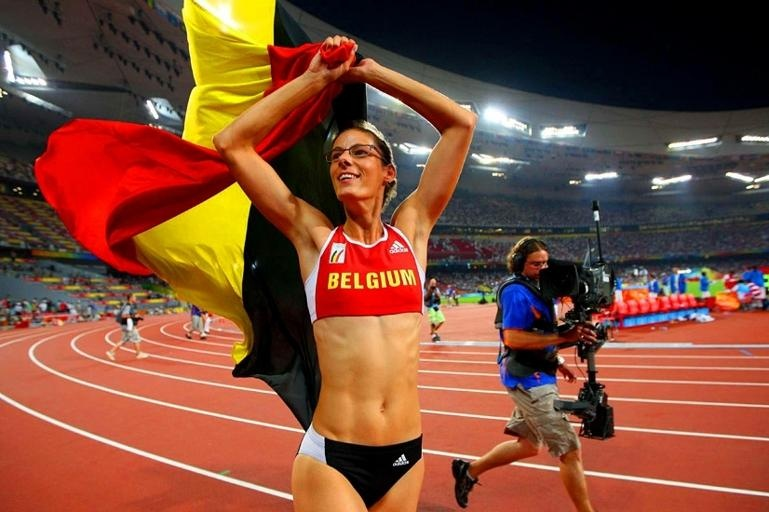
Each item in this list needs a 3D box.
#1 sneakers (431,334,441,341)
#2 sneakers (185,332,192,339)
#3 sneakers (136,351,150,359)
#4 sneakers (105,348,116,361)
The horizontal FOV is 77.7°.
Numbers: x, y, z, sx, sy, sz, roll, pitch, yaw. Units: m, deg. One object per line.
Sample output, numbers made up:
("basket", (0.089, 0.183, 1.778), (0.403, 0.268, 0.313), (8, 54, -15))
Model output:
("sneakers", (1.693, 2.828, 15.846), (0.202, 0.165, 0.397), (-2, -13, -9))
("sneakers", (-7.598, 3.247, 18.635), (0.128, 0.176, 0.315), (43, -24, -16))
("sneakers", (-7.314, 3.092, 14.382), (0.545, 0.234, 0.200), (-3, -3, 19))
("sneakers", (-8.269, 3.121, 14.487), (0.211, 0.305, 0.116), (-24, -42, -12))
